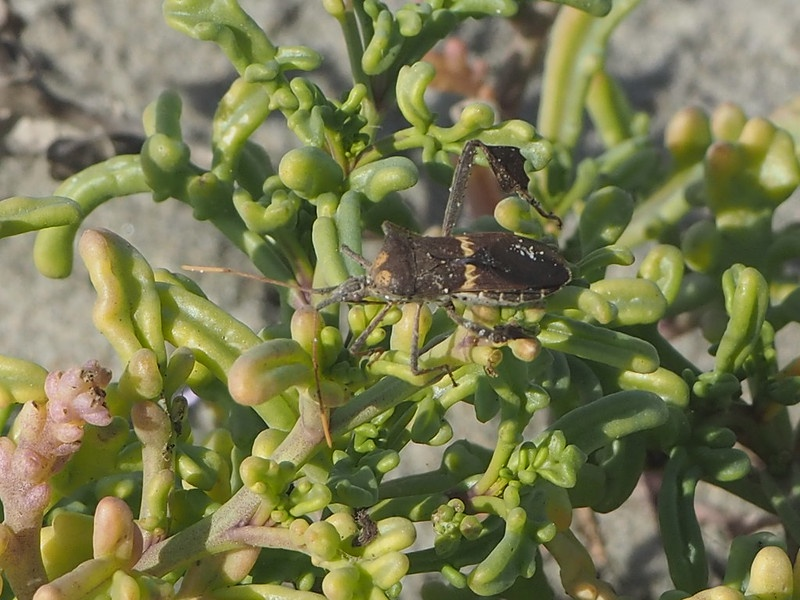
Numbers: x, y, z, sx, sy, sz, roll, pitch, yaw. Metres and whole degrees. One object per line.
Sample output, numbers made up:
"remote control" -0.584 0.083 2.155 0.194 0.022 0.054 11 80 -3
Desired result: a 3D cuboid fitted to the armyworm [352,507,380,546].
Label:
"armyworm" -0.119 0.714 4.343 0.083 0.032 0.094 -24 84 -37
